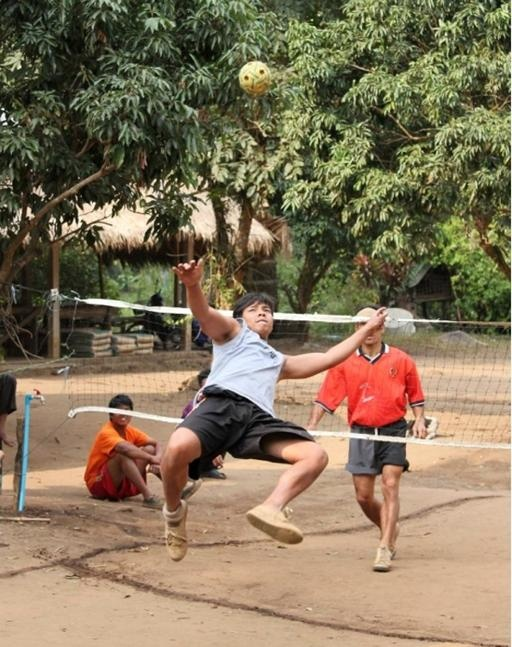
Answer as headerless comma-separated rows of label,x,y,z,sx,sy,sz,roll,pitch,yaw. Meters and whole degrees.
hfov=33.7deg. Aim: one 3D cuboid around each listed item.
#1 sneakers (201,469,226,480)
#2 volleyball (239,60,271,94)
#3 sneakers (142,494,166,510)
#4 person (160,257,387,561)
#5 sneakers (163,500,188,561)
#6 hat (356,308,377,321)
sneakers,-0.428,1.500,8.511,0.269,0.104,0.086,-3,-11,8
volleyball,0.007,-2.333,8.183,0.343,0.300,0.306,0,3,6
sneakers,-0.843,1.471,6.952,0.189,0.066,0.075,0,0,20
person,-0.006,0.469,4.148,0.874,1.496,0.868,2,2,7
sneakers,-0.417,1.057,4.299,0.134,0.308,0.140,-3,15,8
hat,0.703,-0.061,5.359,0.093,0.078,0.107,-3,4,2
